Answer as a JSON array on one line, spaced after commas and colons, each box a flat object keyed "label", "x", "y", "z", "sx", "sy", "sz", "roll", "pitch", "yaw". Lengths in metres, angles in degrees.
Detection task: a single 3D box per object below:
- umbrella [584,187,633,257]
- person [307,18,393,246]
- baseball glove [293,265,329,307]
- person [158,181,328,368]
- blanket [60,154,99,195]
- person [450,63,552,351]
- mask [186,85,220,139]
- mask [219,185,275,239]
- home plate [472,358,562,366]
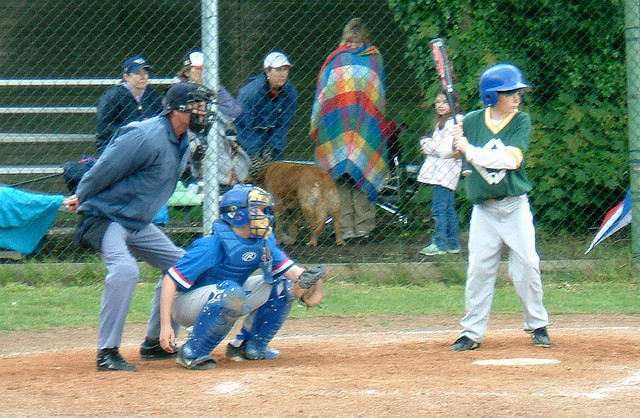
[{"label": "umbrella", "x": 3.262, "y": 0.155, "z": 9.992, "sx": 0.147, "sy": 0.804, "sz": 0.199, "roll": 32, "pitch": 2, "yaw": -25}, {"label": "person", "x": 0.259, "y": -0.896, "z": 10.279, "sx": 1.080, "sy": 2.366, "sz": 1.033, "roll": 2, "pitch": 4, "yaw": -16}, {"label": "baseball glove", "x": -0.063, "y": 0.616, "z": 7.188, "sx": 0.228, "sy": 0.178, "sz": 0.369, "roll": 13, "pitch": -44, "yaw": -16}, {"label": "person", "x": -0.670, "y": 0.570, "z": 7.308, "sx": 1.382, "sy": 1.419, "sz": 1.084, "roll": 1, "pitch": -3, "yaw": -15}, {"label": "blanket", "x": -2.394, "y": -0.350, "z": 8.812, "sx": 0.567, "sy": 0.163, "sz": 0.408, "roll": -24, "pitch": 25, "yaw": -13}, {"label": "person", "x": 1.512, "y": 0.013, "z": 7.583, "sx": 1.049, "sy": 2.358, "sz": 0.873, "roll": -1, "pitch": 1, "yaw": -3}, {"label": "mask", "x": -0.965, "y": -0.796, "z": 7.249, "sx": 0.231, "sy": 0.415, "sz": 0.311, "roll": -3, "pitch": 12, "yaw": -5}, {"label": "mask", "x": -0.614, "y": 0.014, "z": 7.264, "sx": 0.498, "sy": 0.390, "sz": 0.369, "roll": -4, "pitch": 3, "yaw": 7}, {"label": "home plate", "x": 1.599, "y": 1.244, "z": 7.197, "sx": 0.699, "sy": 0.019, "sz": 0.181, "roll": 0, "pitch": 11, "yaw": 3}]
